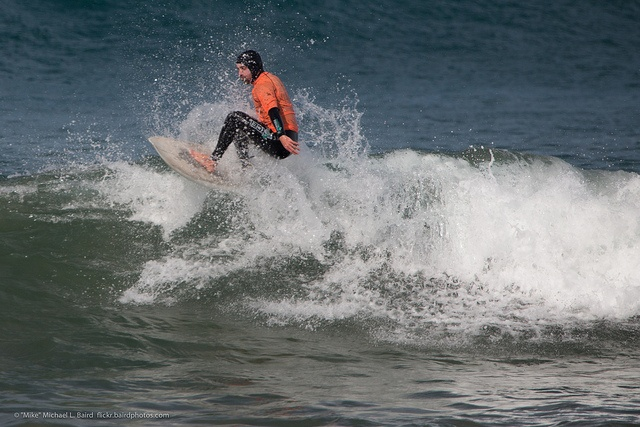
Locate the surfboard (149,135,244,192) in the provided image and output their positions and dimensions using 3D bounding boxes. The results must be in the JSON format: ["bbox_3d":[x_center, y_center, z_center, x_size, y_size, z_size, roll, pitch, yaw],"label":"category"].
[{"bbox_3d":[-3.005,-0.956,20.953,1.961,1.233,0.247,21,-72,-14],"label":"surfboard"}]
